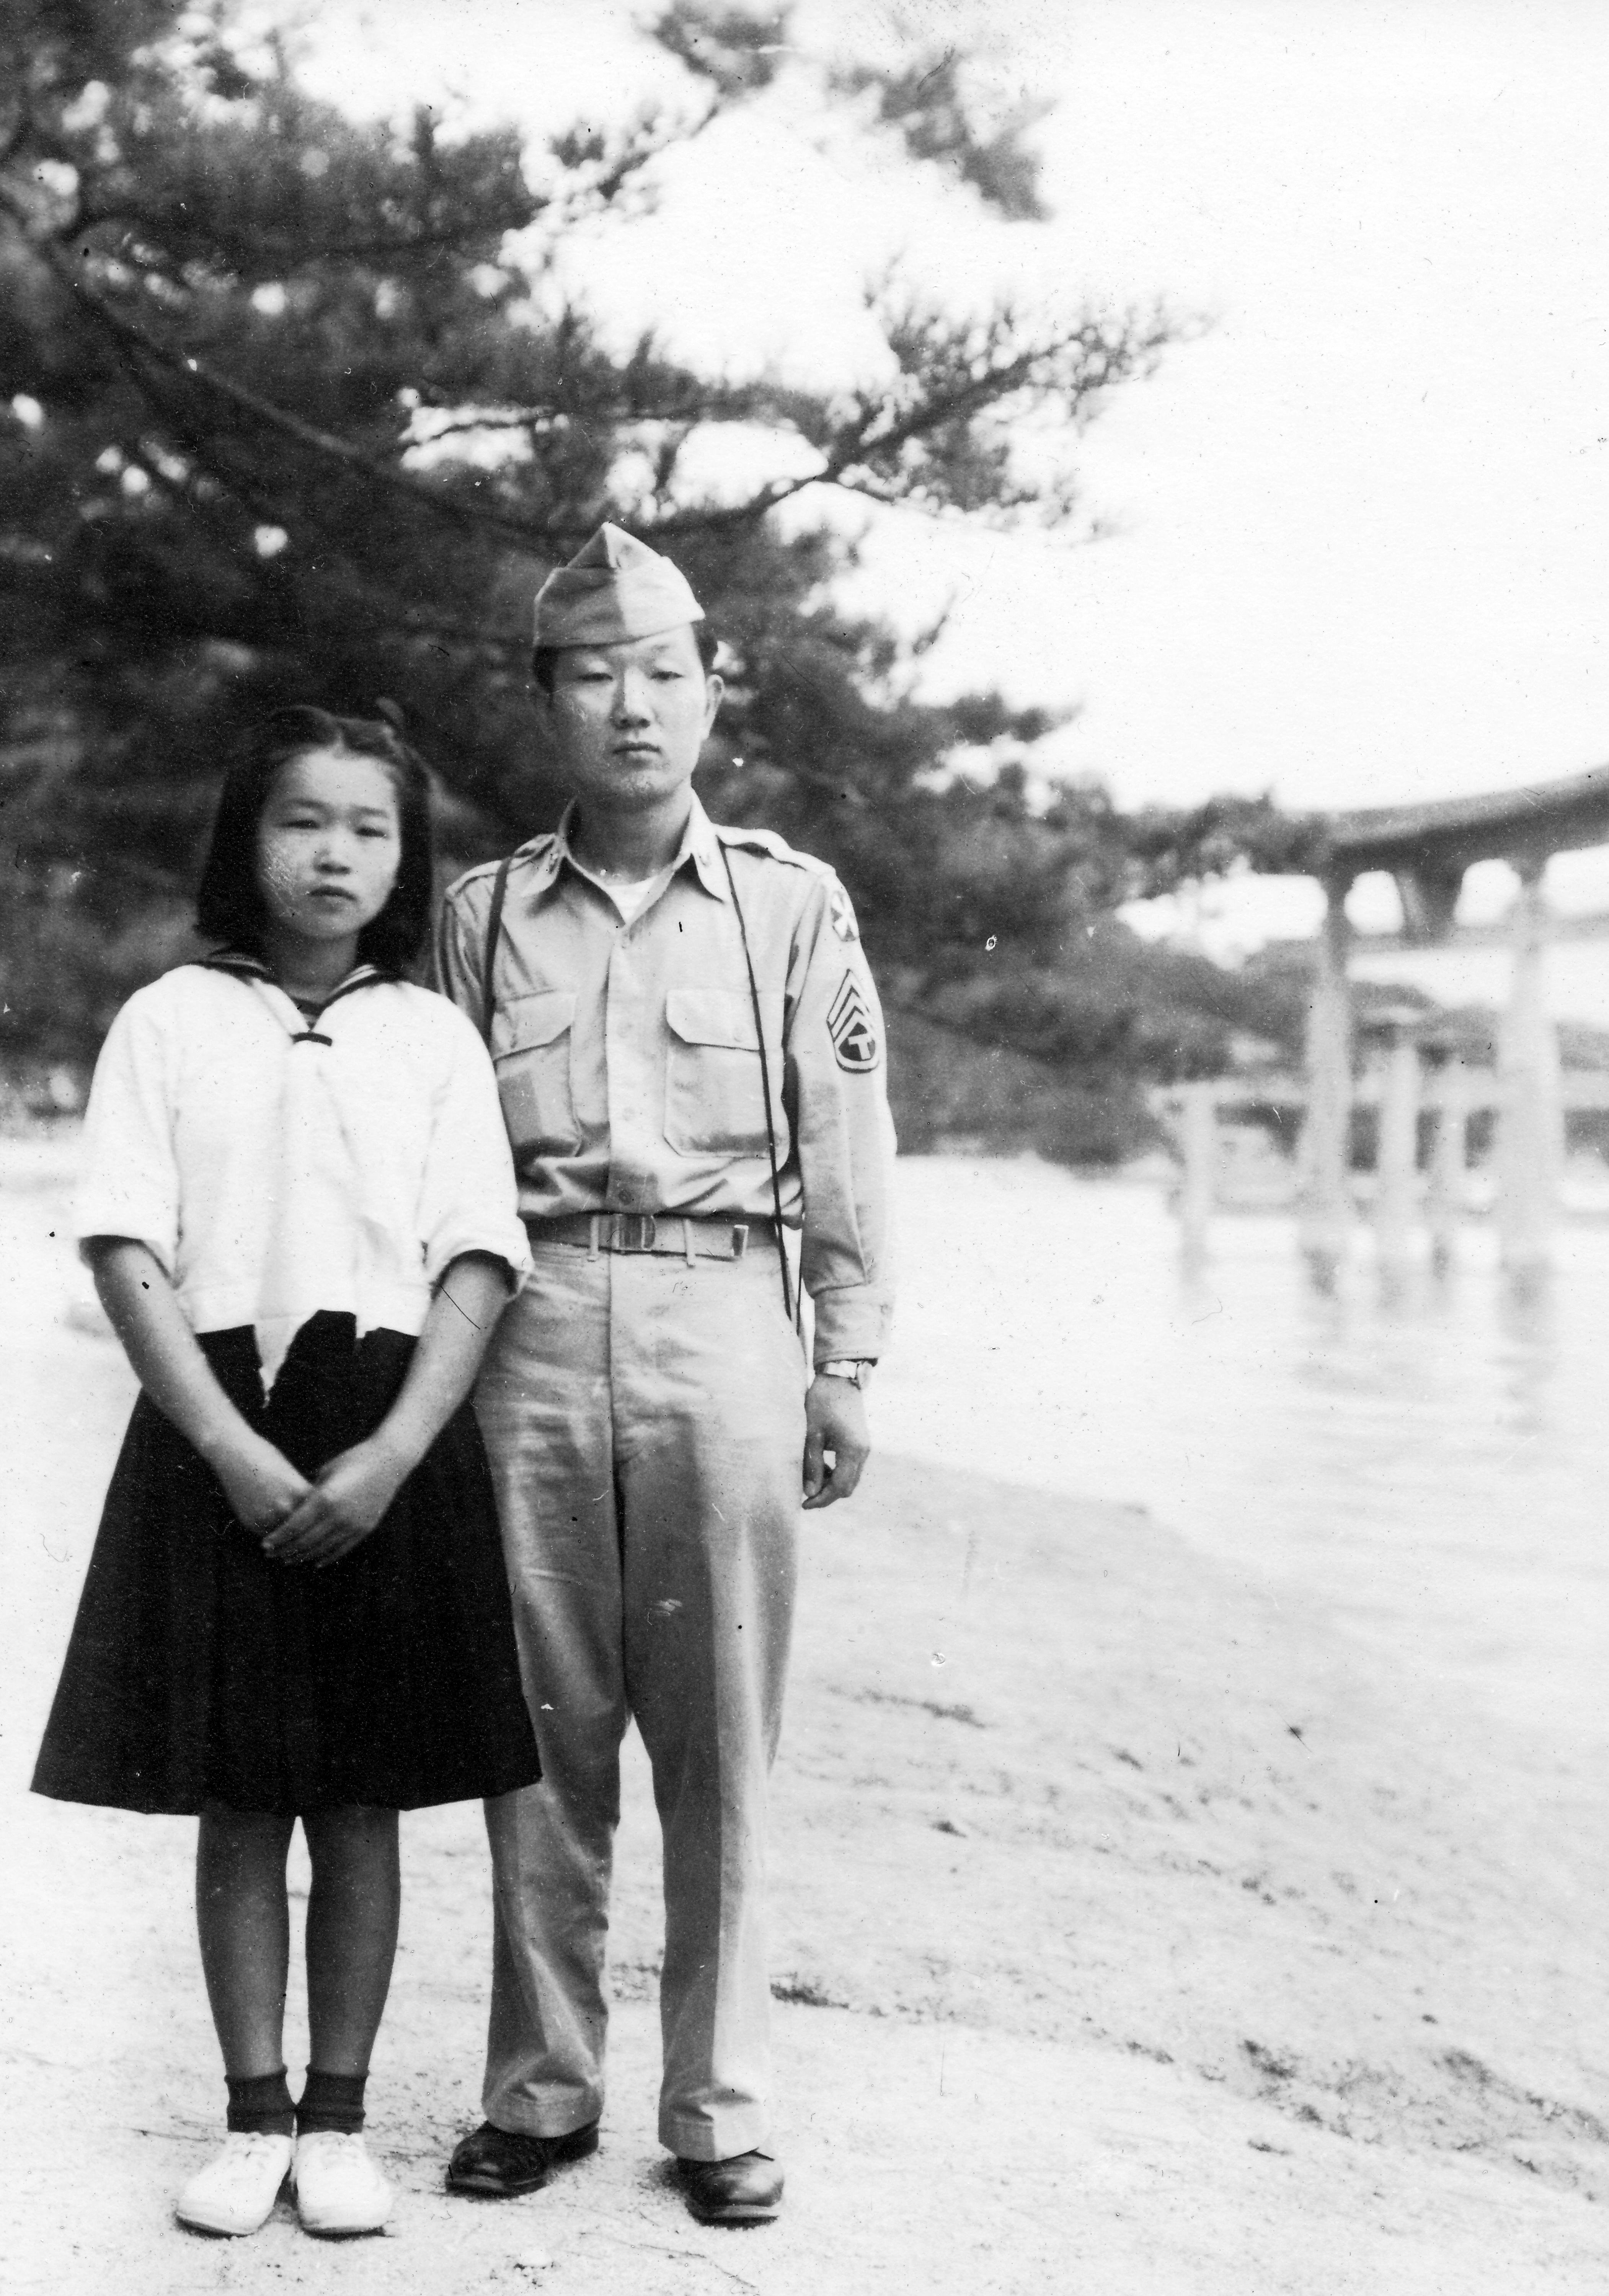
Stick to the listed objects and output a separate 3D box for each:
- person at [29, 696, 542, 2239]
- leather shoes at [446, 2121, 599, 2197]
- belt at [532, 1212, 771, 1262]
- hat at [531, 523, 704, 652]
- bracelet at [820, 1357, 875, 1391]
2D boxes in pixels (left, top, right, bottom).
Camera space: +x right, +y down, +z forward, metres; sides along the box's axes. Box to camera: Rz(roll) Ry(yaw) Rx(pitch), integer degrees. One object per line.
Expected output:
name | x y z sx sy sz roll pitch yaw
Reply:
person | -0.418 0.264 2.926 0.385 1.318 0.392 6 4 29
leather shoes | -0.251 0.921 3.003 0.050 0.067 0.139 -6 -15 37
belt | -0.148 0.074 3.036 0.188 0.041 0.045 5 4 -7
hat | -0.179 -0.534 3.128 0.101 0.089 0.143 -9 7 -1
bracelet | 0.041 0.204 3.108 0.042 0.028 0.032 5 6 30
